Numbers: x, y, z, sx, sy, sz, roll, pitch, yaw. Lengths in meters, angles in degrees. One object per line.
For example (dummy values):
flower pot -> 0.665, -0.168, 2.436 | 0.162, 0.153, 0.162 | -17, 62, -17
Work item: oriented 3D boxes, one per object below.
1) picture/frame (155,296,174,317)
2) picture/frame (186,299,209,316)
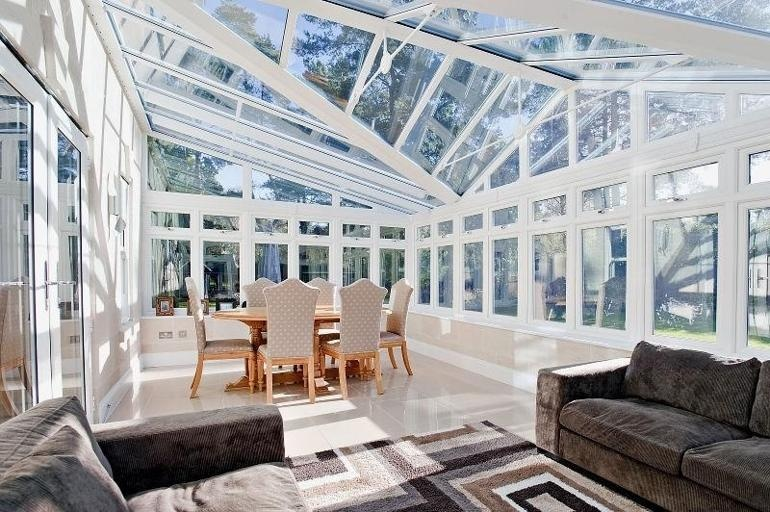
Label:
picture/frame -> -3.343, 0.776, 7.669 | 0.318, 0.386, 0.051 | 1, -6, -22
picture/frame -> -2.489, 0.692, 6.701 | 0.378, 0.308, 0.032 | 2, -2, -26
